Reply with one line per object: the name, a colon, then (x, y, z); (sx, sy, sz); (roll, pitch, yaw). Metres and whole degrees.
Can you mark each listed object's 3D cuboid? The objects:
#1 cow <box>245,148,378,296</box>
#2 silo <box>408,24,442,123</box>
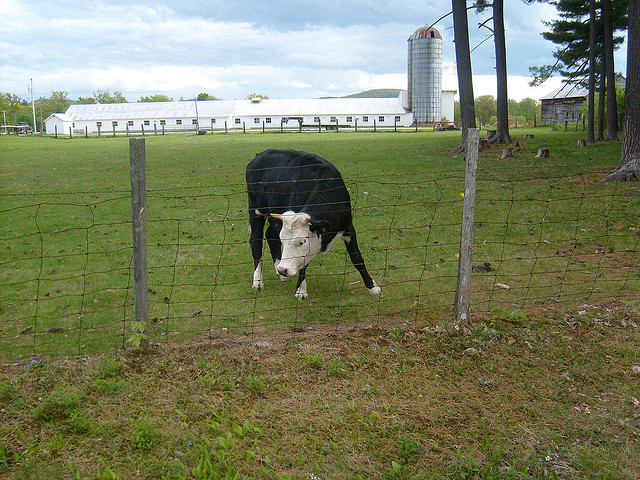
cow: (-0.264, -0.311, 9.251); (1.907, 2.255, 2.721); (-3, 11, -11)
silo: (14.890, -23.566, 81.548); (4.423, 12.892, 4.665); (0, 11, 7)
